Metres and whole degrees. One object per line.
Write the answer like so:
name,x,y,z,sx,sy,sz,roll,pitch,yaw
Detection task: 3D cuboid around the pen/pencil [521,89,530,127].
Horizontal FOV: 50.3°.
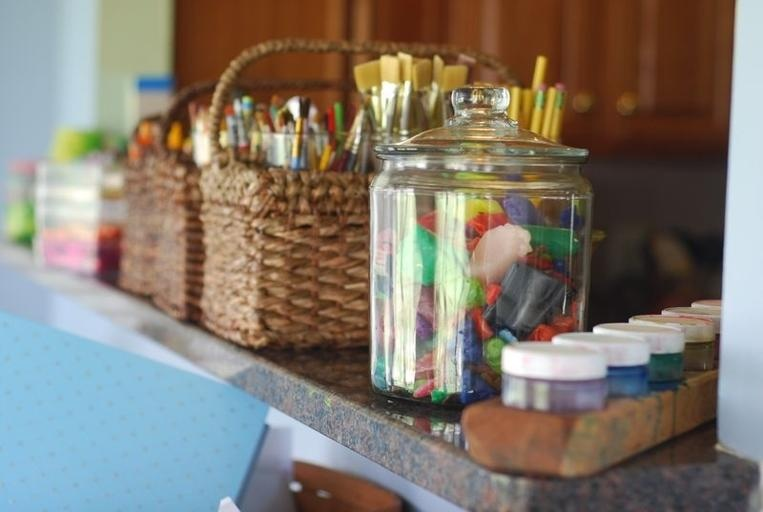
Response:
pen/pencil,0.253,-0.258,1.427,0.027,0.066,0.012,-9,12,-35

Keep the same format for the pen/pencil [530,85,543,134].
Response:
pen/pencil,0.272,-0.255,1.414,0.024,0.079,0.028,0,10,11

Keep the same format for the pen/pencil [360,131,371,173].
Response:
pen/pencil,-0.030,-0.179,1.414,0.021,0.066,0.007,-1,10,4

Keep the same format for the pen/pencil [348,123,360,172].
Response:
pen/pencil,-0.048,-0.181,1.410,0.026,0.062,0.009,-8,12,-31
